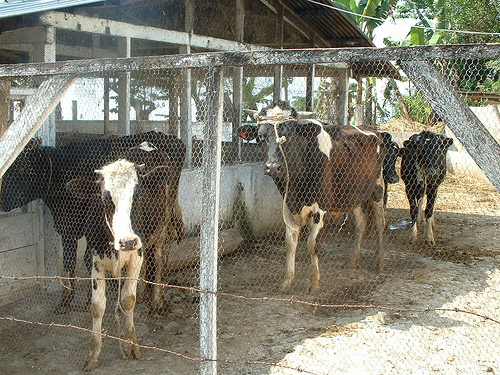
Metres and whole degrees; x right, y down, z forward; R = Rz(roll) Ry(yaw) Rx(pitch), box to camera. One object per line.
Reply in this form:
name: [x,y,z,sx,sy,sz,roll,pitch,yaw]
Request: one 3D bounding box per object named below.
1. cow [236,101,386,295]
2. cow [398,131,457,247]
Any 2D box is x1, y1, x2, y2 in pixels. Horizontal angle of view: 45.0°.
cow: [1.196,0.162,9.477,3.006,2.897,0.999,-4,7,-42]
cow: [3.172,-0.036,11.308,0.627,2.073,2.492,2,0,10]
